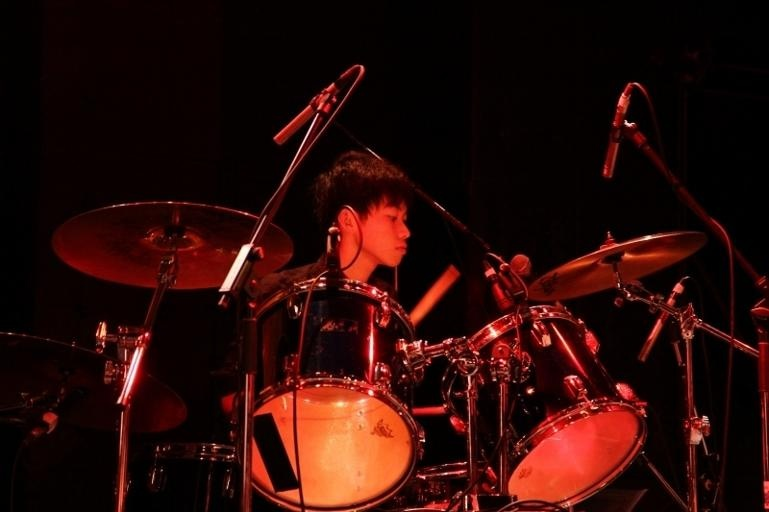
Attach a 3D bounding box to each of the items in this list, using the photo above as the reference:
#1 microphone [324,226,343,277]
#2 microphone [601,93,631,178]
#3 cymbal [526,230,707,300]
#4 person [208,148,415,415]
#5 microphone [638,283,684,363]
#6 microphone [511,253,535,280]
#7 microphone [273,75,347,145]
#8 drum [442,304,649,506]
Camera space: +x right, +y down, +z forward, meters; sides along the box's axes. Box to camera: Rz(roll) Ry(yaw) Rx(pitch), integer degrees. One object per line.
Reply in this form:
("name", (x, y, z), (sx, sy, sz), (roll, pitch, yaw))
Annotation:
("microphone", (-0.237, -0.022, 3.712), (0.078, 0.229, 0.192), (4, -16, 7))
("microphone", (1.137, -0.602, 3.943), (0.067, 0.429, 0.090), (19, 11, 38))
("cymbal", (1.142, 0.012, 3.964), (0.840, 0.173, 0.861), (-24, -20, 34))
("person", (-0.250, 0.087, 4.732), (0.911, 1.264, 1.021), (7, -9, -26))
("microphone", (1.531, 0.390, 4.386), (0.067, 0.510, 0.072), (35, 16, 23))
("microphone", (0.704, 0.052, 4.007), (0.092, 0.142, 0.227), (-1, -18, 24))
("microphone", (-0.353, -0.643, 3.663), (0.462, 0.083, 0.090), (-33, -77, 32))
("drum", (0.679, 0.638, 4.041), (0.968, 0.709, 0.987), (-9, -45, -9))
